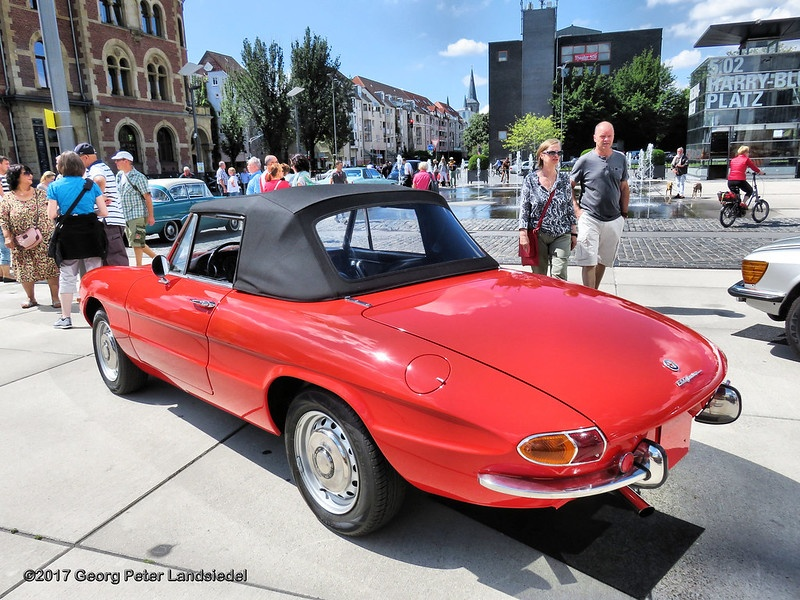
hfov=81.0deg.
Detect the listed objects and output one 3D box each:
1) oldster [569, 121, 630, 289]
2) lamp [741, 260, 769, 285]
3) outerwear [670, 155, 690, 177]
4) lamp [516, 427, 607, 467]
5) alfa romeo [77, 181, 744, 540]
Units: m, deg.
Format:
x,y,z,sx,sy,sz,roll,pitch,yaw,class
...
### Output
x,y,z,sx,sy,sz,roll,pitch,yaw,class
2.470,-1.161,5.895,0.791,2.164,0.964,0,2,-7,oldster
3.593,-0.287,4.792,0.179,0.210,0.230,6,11,-6,lamp
11.697,-5.654,19.680,0.451,0.864,0.969,10,21,31,outerwear
0.671,0.616,1.937,0.373,0.138,0.055,-2,18,-5,lamp
-0.428,0.045,3.174,4.021,1.447,1.989,20,23,40,alfa romeo
